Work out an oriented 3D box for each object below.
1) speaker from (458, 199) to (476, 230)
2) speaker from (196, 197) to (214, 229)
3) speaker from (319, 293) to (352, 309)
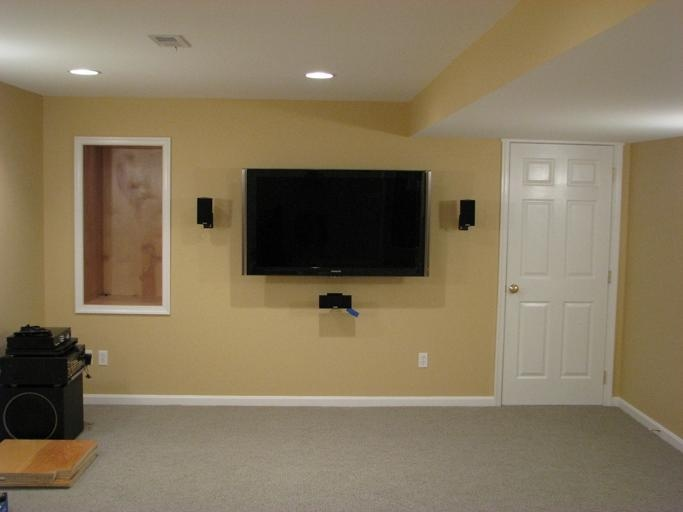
[{"bbox_3d":[1.114,-0.356,4.948,0.154,0.294,0.221,4,14,11],"label":"speaker"},{"bbox_3d":[-1.202,-0.374,4.937,0.153,0.291,0.202,-2,14,-13],"label":"speaker"},{"bbox_3d":[-0.056,0.397,5.039,0.301,0.127,0.098,0,13,-3],"label":"speaker"}]
